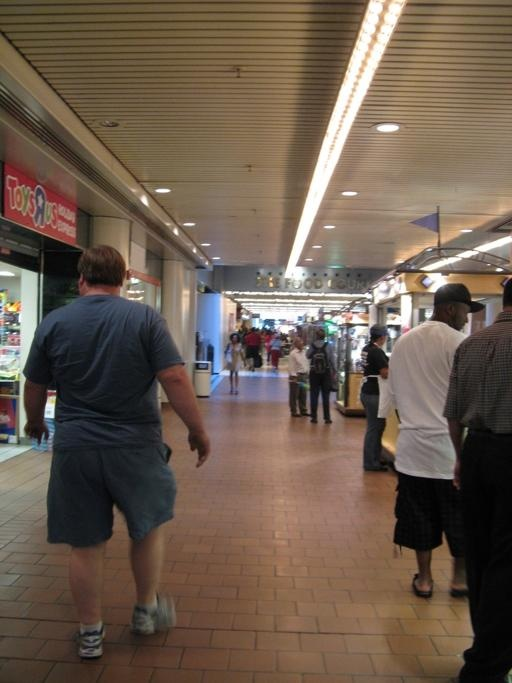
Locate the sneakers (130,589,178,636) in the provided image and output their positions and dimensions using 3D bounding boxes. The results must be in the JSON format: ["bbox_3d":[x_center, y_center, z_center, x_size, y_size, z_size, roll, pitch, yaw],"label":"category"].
[{"bbox_3d":[-0.450,1.209,2.326,0.107,0.104,0.224,0,0,13],"label":"sneakers"}]

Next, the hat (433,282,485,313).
[{"bbox_3d":[1.139,-0.250,2.907,0.246,0.119,0.146,-1,1,6],"label":"hat"}]

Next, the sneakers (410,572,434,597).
[{"bbox_3d":[0.905,1.316,2.821,0.113,0.088,0.198,1,-2,16],"label":"sneakers"}]

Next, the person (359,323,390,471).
[{"bbox_3d":[1.362,0.648,5.954,0.330,1.671,1.254,1,-2,14],"label":"person"}]

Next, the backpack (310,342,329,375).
[{"bbox_3d":[1.202,0.340,9.692,0.337,0.584,0.409,1,-2,9],"label":"backpack"}]

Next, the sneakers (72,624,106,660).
[{"bbox_3d":[-0.664,1.177,2.084,0.069,0.078,0.183,3,10,-4],"label":"sneakers"}]

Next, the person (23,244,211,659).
[{"bbox_3d":[-0.567,0.430,2.116,0.743,1.651,0.331,2,-3,-14],"label":"person"}]

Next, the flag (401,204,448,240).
[{"bbox_3d":[2.777,-1.963,8.530,0.887,0.903,0.103,-1,-3,-9],"label":"flag"}]
